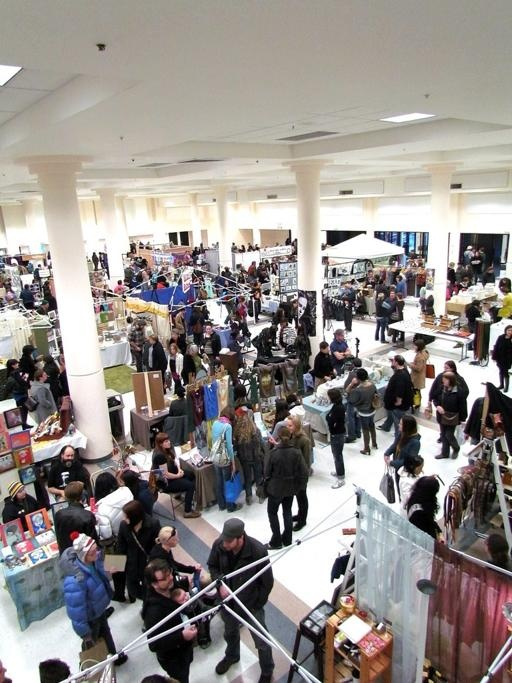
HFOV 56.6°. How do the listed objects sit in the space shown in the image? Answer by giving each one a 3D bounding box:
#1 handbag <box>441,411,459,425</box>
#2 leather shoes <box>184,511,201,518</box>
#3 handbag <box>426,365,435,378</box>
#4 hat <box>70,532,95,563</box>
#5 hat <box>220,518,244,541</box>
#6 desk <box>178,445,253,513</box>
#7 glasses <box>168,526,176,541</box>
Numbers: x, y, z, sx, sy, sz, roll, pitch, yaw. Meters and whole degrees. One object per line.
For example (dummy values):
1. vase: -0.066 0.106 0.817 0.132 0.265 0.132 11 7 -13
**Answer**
1. handbag: 2.416 0.947 5.950 0.179 0.170 0.061 2 5 32
2. leather shoes: -0.720 1.933 5.320 0.141 0.059 0.067 -4 19 -14
3. handbag: 2.459 0.419 6.789 0.071 0.161 0.165 -2 12 -14
4. hat: -1.133 1.378 3.154 0.134 0.173 0.075 -1 11 21
5. hat: -0.156 1.197 3.021 0.109 0.076 0.148 14 15 25
6. desk: -0.584 1.555 5.740 0.689 0.517 0.671 16 29 40
7. glasses: -0.608 1.377 3.433 0.044 0.059 0.059 20 29 -16
